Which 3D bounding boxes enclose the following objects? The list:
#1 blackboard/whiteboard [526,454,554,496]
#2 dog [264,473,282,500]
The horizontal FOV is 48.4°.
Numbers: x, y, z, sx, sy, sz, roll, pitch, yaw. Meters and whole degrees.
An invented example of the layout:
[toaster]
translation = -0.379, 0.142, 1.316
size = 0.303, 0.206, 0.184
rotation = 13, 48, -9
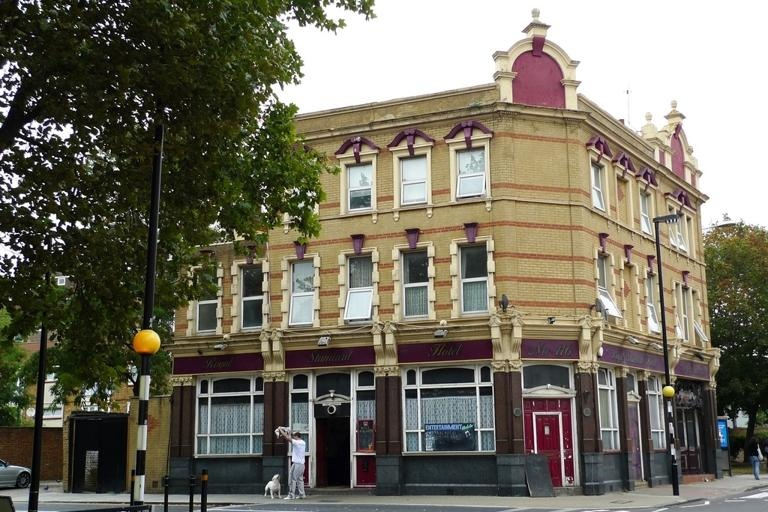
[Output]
[blackboard/whiteboard]
translation = 5.604, 7.877, 30.689
size = 0.985, 1.527, 0.384
rotation = 4, -20, -11
[dog]
translation = -4.203, 8.866, 32.357
size = 0.468, 0.886, 1.230
rotation = 9, -33, -24
